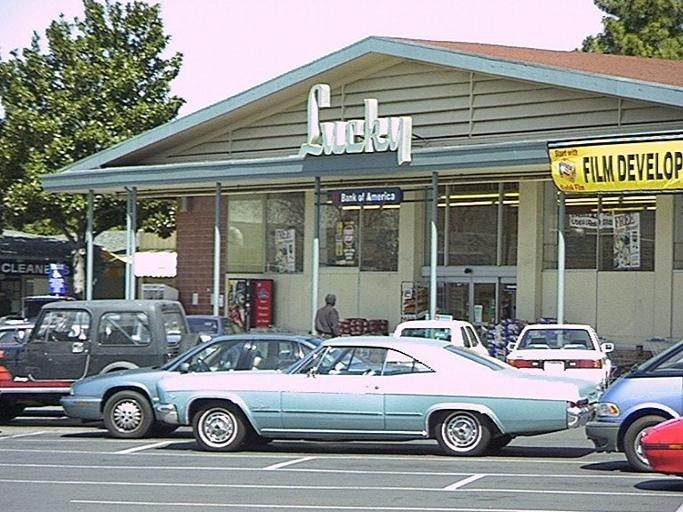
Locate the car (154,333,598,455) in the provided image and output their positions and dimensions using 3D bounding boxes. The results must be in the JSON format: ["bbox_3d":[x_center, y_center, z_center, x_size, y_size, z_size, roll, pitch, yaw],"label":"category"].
[{"bbox_3d":[0.675,2.366,18.490,6.711,1.345,2.394,0,-4,9],"label":"car"}]

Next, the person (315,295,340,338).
[{"bbox_3d":[-0.306,1.341,24.541,0.549,0.957,0.737,2,-5,-1],"label":"person"}]

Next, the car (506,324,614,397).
[{"bbox_3d":[4.224,2.013,20.713,1.732,0.779,2.428,0,4,14],"label":"car"}]

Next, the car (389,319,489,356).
[{"bbox_3d":[2.312,1.779,24.087,1.087,0.661,1.584,0,3,10],"label":"car"}]
